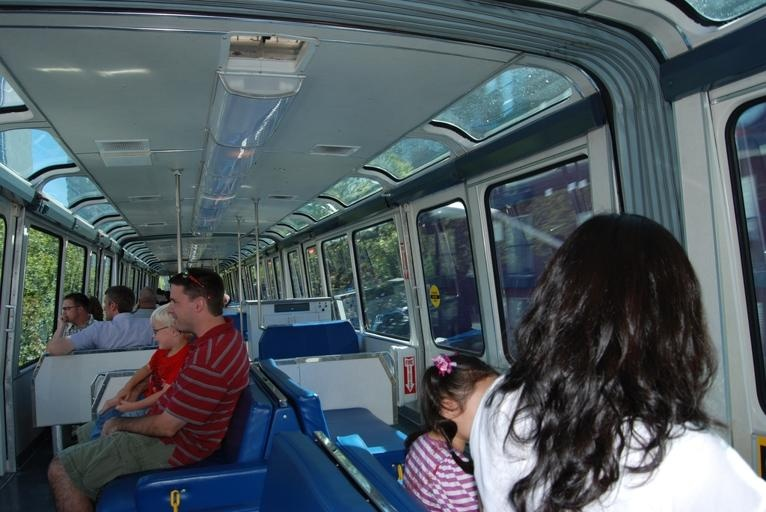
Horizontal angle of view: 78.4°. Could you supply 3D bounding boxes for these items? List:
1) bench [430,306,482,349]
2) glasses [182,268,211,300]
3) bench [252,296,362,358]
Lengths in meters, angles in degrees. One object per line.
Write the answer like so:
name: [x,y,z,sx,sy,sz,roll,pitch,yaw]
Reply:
bench: [0.901,0.865,5.741,0.017,0.388,0.700,10,-6,-20]
glasses: [-1.451,0.207,3.659,0.203,0.061,0.204,16,-23,41]
bench: [-1.350,1.196,7.737,1.258,0.726,1.221,1,-12,-19]
